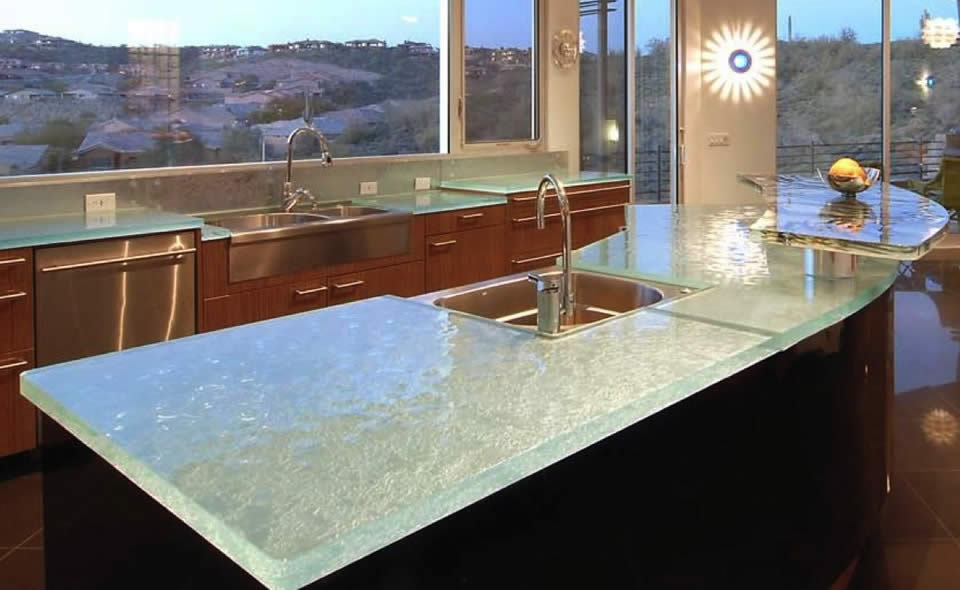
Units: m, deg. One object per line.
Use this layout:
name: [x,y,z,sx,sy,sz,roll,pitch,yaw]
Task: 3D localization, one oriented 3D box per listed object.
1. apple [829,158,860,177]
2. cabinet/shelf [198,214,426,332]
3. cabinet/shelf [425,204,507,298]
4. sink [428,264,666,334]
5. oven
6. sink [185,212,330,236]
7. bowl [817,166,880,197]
apple: [1.968,-0.699,3.284,0.128,0.087,0.150,8,18,31]
cabinet/shelf: [-1.081,-0.126,3.988,1.332,0.766,0.438,-17,26,-39]
cabinet/shelf: [0.011,-0.276,4.637,0.723,0.661,0.385,-10,-15,27]
sink: [0.262,0.014,2.507,0.487,0.153,0.396,-9,13,-39]
oven: [-2.074,-0.055,3.409,0.811,0.731,0.599,-10,33,-40]
sink: [-1.447,-0.495,4.056,0.365,0.163,0.480,12,17,41]
bowl: [2.039,-0.625,3.397,0.335,0.139,0.342,-2,13,0]
